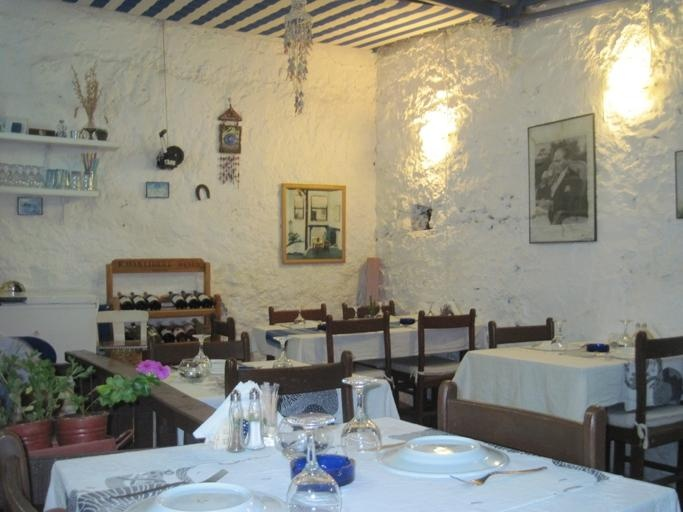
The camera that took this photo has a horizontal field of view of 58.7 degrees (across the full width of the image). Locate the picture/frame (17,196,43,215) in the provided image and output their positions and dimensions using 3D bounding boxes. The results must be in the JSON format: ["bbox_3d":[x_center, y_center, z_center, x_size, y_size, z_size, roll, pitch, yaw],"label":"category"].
[{"bbox_3d":[-2.930,-0.480,5.685,0.169,0.159,0.026,-1,-1,-34],"label":"picture/frame"}]

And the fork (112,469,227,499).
[{"bbox_3d":[-0.453,0.603,1.604,0.325,0.051,0.048,2,1,-26],"label":"fork"}]

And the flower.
[{"bbox_3d":[-0.906,0.484,2.350,0.512,0.184,0.356,0,0,44],"label":"flower"}]

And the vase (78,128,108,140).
[{"bbox_3d":[-2.381,-1.176,5.831,0.229,0.107,0.175,-3,-1,23],"label":"vase"}]

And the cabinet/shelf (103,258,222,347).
[{"bbox_3d":[-1.723,0.430,5.687,0.786,0.781,0.279,1,-3,-29],"label":"cabinet/shelf"}]

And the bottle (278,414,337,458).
[{"bbox_3d":[-0.096,0.486,1.721,0.123,0.097,0.138,-1,-2,-7],"label":"bottle"}]

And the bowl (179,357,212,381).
[{"bbox_3d":[-0.690,0.527,2.888,0.111,0.080,0.095,1,1,-36],"label":"bowl"}]
